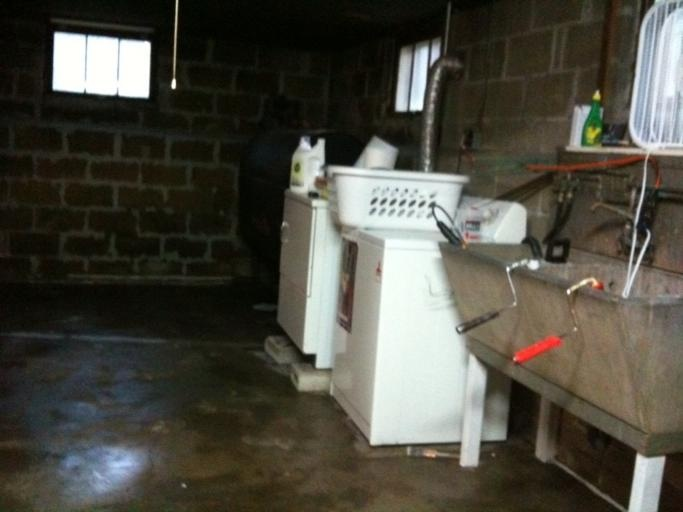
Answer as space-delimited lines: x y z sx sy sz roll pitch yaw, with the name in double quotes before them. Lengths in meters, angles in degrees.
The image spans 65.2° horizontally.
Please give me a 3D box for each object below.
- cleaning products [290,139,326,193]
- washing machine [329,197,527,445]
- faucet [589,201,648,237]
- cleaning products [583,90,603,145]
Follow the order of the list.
"cleaning products" -0.212 -0.540 3.138 0.172 0.330 0.206 -3 12 -21
"washing machine" 0.400 0.264 2.648 0.664 1.045 0.914 1 11 -14
"faucet" 0.752 -0.106 1.456 0.117 0.088 0.068 1 11 -14
"cleaning products" 0.937 -0.517 1.982 0.068 0.204 0.152 6 13 23
